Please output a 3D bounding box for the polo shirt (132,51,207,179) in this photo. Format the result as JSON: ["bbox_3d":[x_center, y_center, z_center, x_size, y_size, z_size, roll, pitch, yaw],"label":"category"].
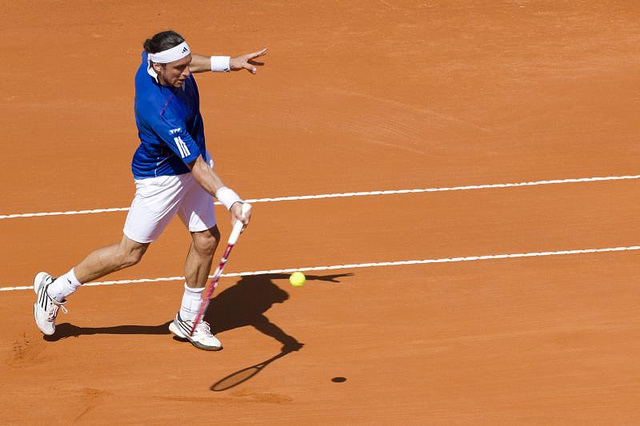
[{"bbox_3d":[-1.631,-1.081,10.229,0.804,1.381,0.591,1,-2,-10],"label":"polo shirt"}]

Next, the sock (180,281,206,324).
[{"bbox_3d":[-1.475,1.032,10.771,0.268,0.483,0.233,0,-2,-8],"label":"sock"}]

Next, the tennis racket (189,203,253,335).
[{"bbox_3d":[-1.180,0.722,11.042,0.243,1.809,0.156,34,8,15],"label":"tennis racket"}]

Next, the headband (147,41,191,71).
[{"bbox_3d":[-1.600,-1.679,9.951,0.332,0.125,0.259,-19,1,14],"label":"headband"}]

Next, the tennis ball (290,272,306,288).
[{"bbox_3d":[-0.262,0.770,10.891,0.152,0.157,0.186,0,-2,-3],"label":"tennis ball"}]

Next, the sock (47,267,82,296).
[{"bbox_3d":[-2.930,0.792,10.712,0.385,0.312,0.138,-1,-3,26],"label":"sock"}]
